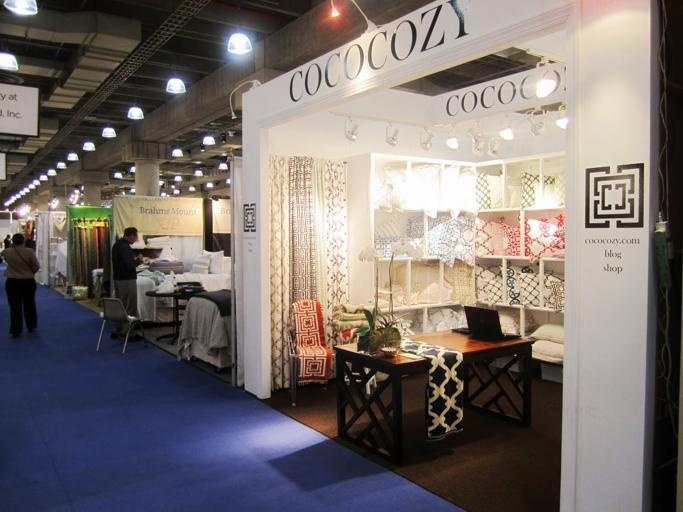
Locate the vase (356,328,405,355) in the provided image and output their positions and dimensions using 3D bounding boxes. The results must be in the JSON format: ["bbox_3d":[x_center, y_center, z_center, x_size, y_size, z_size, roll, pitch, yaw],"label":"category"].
[{"bbox_3d":[0.344,0.780,4.514,0.399,0.225,0.190,0,6,2],"label":"vase"}]

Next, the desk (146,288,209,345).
[{"bbox_3d":[-2.894,1.063,8.548,1.102,0.893,1.152,7,4,14],"label":"desk"}]

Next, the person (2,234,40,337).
[{"bbox_3d":[-5.930,0.499,9.012,0.536,1.899,0.981,-3,5,-34],"label":"person"}]

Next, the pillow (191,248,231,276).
[{"bbox_3d":[-3.009,0.116,10.905,0.912,0.853,0.311,4,-17,-1],"label":"pillow"}]

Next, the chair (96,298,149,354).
[{"bbox_3d":[-3.789,1.205,8.466,0.685,1.114,0.825,2,7,10],"label":"chair"}]

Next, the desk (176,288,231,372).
[{"bbox_3d":[-1.927,1.024,6.888,0.852,0.816,1.035,5,8,45],"label":"desk"}]

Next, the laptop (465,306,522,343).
[{"bbox_3d":[1.609,0.673,5.243,0.351,0.325,0.419,-2,0,-35],"label":"laptop"}]
